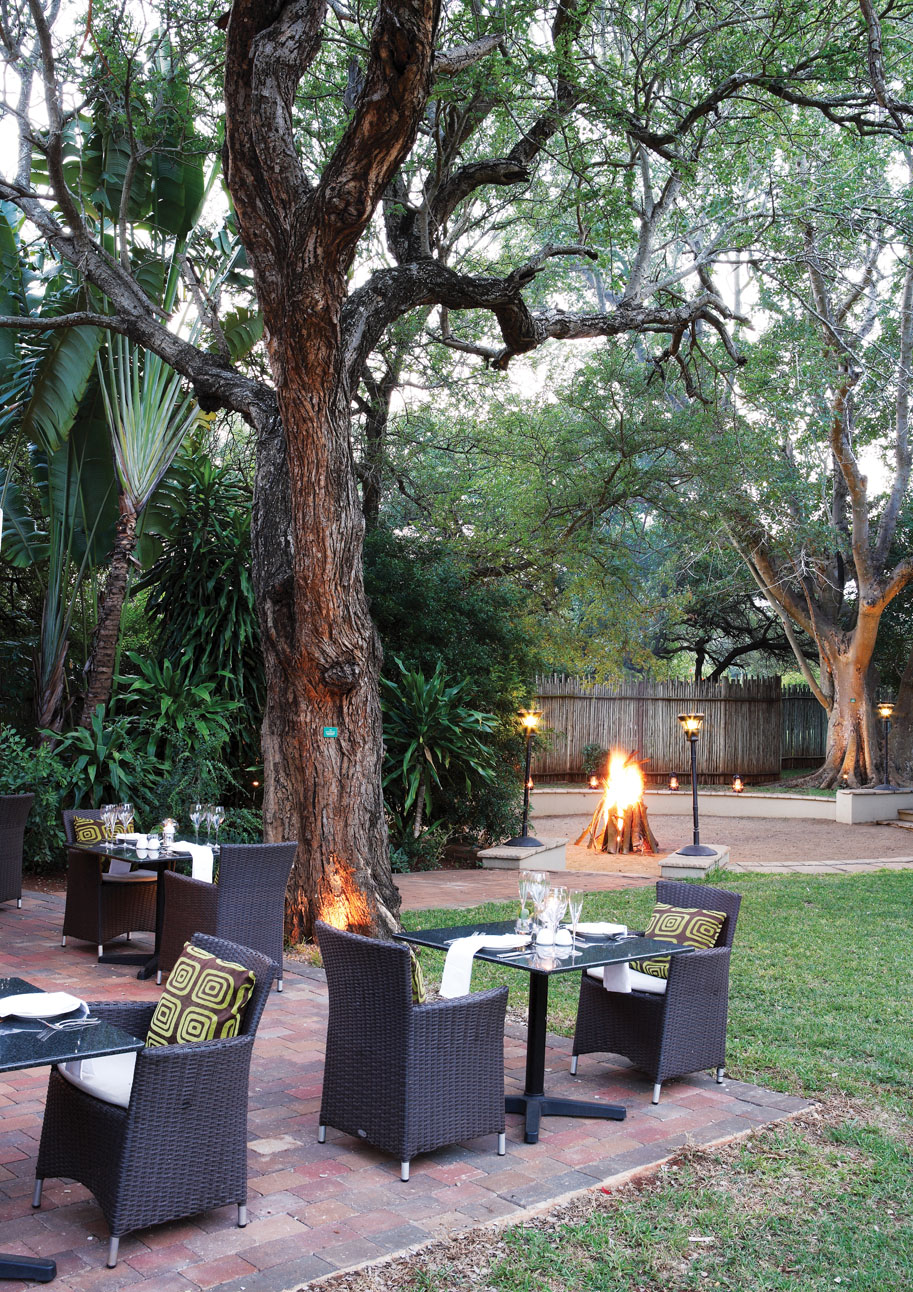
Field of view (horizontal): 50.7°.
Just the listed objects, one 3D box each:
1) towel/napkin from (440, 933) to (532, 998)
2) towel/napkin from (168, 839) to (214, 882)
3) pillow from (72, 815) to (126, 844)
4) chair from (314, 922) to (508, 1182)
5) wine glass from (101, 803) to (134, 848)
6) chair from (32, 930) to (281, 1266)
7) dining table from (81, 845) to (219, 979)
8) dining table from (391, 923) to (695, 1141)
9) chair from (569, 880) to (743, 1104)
[{"bbox_3d":[0.103,1.274,3.933,0.247,0.096,0.393,0,1,9],"label":"towel/napkin"},{"bbox_3d":[-1.729,1.396,6.306,0.225,0.256,0.415,3,-2,-24],"label":"towel/napkin"},{"bbox_3d":[-2.604,1.328,6.923,0.223,0.072,0.233,11,29,-20],"label":"pillow"},{"bbox_3d":[-0.140,1.404,3.434,0.617,0.764,0.641,-1,-6,0],"label":"chair"},{"bbox_3d":[-2.427,1.291,6.921,0.281,0.318,0.256,-1,-7,-5],"label":"wine glass"},{"bbox_3d":[-0.884,1.247,3.037,0.700,0.976,0.696,6,-5,-39],"label":"chair"},{"bbox_3d":[-2.130,1.805,6.593,0.900,0.848,0.892,2,2,-25],"label":"dining table"},{"bbox_3d":[0.466,1.515,4.042,0.927,0.703,0.836,1,-4,5],"label":"dining table"},{"bbox_3d":[0.968,1.602,4.597,0.601,0.887,0.600,10,-12,-34],"label":"chair"}]
